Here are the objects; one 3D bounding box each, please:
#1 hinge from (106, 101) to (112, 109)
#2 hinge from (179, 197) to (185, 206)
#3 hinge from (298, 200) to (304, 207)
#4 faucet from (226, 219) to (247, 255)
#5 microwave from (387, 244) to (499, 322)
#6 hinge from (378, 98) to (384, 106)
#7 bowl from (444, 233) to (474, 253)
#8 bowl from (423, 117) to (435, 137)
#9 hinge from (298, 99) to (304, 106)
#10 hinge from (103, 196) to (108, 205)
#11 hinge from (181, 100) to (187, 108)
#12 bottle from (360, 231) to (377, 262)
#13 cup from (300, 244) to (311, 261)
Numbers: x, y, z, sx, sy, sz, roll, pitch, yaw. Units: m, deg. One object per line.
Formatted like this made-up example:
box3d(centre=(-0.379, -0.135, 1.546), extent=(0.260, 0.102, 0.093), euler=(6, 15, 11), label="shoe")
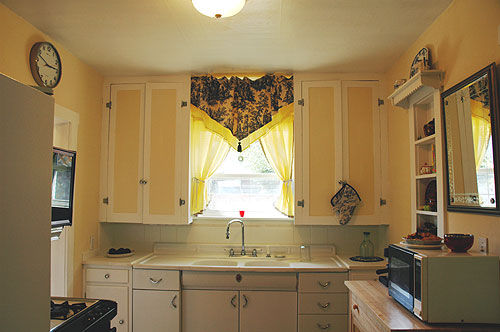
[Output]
box3d(centre=(-1.609, -0.692, 4.300), extent=(0.090, 0.089, 0.060), euler=(1, 1, 23), label="hinge")
box3d(centre=(-0.754, 0.400, 4.178), extent=(0.088, 0.090, 0.090), euler=(1, -2, -2), label="hinge")
box3d(centre=(0.556, 0.406, 4.117), extent=(0.076, 0.070, 0.017), euler=(1, 1, 1), label="hinge")
box3d(centre=(-0.155, 0.811, 4.295), extent=(0.236, 0.404, 0.220), euler=(0, -5, -3), label="faucet")
box3d(centre=(1.340, 0.716, 2.606), extent=(0.431, 0.383, 0.604), euler=(1, -5, 4), label="microwave")
box3d(centre=(1.449, -0.704, 4.164), extent=(0.084, 0.084, 0.019), euler=(2, -2, 1), label="hinge")
box3d(centre=(1.457, 0.533, 2.621), extent=(0.142, 0.091, 0.143), euler=(0, -9, 0), label="bowl")
box3d(centre=(1.581, -0.328, 3.349), extent=(0.114, 0.121, 0.144), euler=(0, 8, 2), label="bowl")
box3d(centre=(0.563, -0.703, 4.166), extent=(0.083, 0.078, 0.019), euler=(0, -1, 3), label="hinge")
box3d(centre=(-1.625, 0.393, 4.241), extent=(0.055, 0.055, 0.039), euler=(1, -4, 0), label="hinge")
box3d(centre=(-0.744, -0.697, 4.236), extent=(0.073, 0.067, 0.049), euler=(0, -4, -6), label="hinge")
box3d(centre=(1.259, 0.849, 3.995), extent=(0.179, 0.293, 0.162), euler=(-1, -5, 2), label="bottle")
box3d(centre=(0.621, 0.962, 4.210), extent=(0.114, 0.154, 0.252), euler=(-1, -5, 10), label="cup")
